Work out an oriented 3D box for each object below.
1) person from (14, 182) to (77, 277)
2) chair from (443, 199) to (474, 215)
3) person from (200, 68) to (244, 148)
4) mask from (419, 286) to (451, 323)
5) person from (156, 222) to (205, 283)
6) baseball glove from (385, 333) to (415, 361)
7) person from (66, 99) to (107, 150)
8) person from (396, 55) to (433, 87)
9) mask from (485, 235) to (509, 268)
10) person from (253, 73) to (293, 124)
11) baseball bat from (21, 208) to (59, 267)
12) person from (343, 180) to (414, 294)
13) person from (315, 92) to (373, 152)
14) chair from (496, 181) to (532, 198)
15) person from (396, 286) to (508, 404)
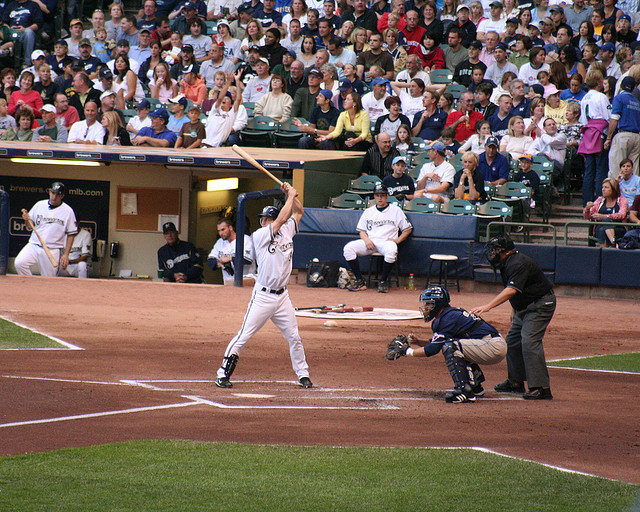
[{"bbox_3d":[-5.040,-0.161,24.421,1.093,2.318,0.749,8,1,-3],"label":"person"},{"bbox_3d":[2.549,-0.890,23.877,0.618,0.259,0.167,1,0,41],"label":"chair"},{"bbox_3d":[-1.925,-2.852,26.065,0.772,1.377,0.601,1,0,-3],"label":"person"},{"bbox_3d":[1.660,0.574,17.024,0.385,0.444,0.462,-17,13,-34],"label":"mask"},{"bbox_3d":[-2.588,-0.071,24.445,0.824,0.986,0.754,1,0,-1],"label":"person"},{"bbox_3d":[1.029,1.174,16.931,0.379,0.179,0.247,10,51,50],"label":"baseball glove"},{"bbox_3d":[-4.681,-2.642,26.449,0.870,0.826,0.602,1,0,30],"label":"person"},{"bbox_3d":[1.975,-3.792,27.040,0.801,0.669,0.459,14,23,27],"label":"person"},{"bbox_3d":[2.366,-0.061,17.344,0.399,0.419,0.333,8,8,9],"label":"mask"},{"bbox_3d":[-0.830,-3.166,26.773,0.688,0.943,1.079,1,0,-35],"label":"person"},{"bbox_3d":[-5.131,-0.334,24.290,0.179,1.300,0.118,-29,-11,-10],"label":"baseball bat"},{"bbox_3d":[1.128,-0.341,23.368,1.374,1.842,1.136,-2,9,-18],"label":"person"},{"bbox_3d":[0.636,-2.580,25.808,0.800,1.047,0.875,1,0,-41],"label":"person"},{"bbox_3d":[3.645,-1.294,24.029,0.460,0.401,0.297,5,10,24],"label":"chair"},{"bbox_3d":[1.743,1.071,17.253,1.536,1.389,1.167,3,10,31],"label":"person"}]
